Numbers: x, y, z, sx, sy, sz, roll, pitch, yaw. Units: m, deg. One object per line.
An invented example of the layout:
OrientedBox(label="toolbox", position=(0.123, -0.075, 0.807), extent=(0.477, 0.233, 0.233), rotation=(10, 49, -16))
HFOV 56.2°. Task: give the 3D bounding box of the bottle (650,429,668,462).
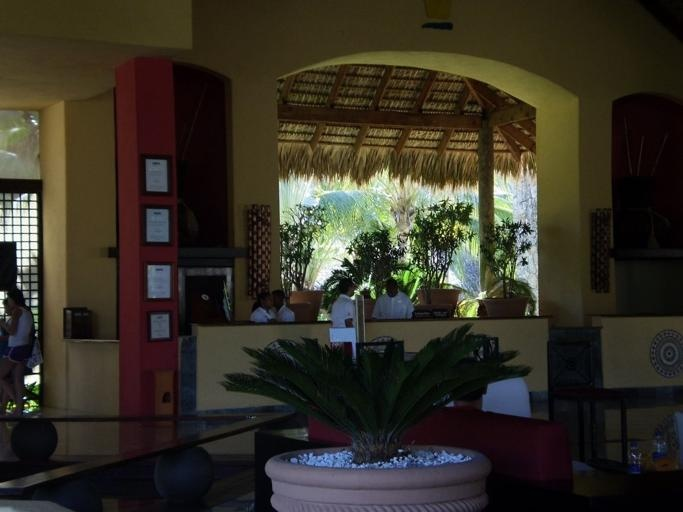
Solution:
OrientedBox(label="bottle", position=(1.772, 1.051, 3.556), extent=(0.078, 0.135, 0.122), rotation=(-1, -2, 36))

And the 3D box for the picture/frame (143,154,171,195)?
OrientedBox(label="picture/frame", position=(-1.977, -0.869, 6.793), extent=(0.404, 0.529, 0.052), rotation=(-2, 1, -38))

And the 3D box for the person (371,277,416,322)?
OrientedBox(label="person", position=(0.816, 0.720, 10.548), extent=(0.630, 1.240, 0.356), rotation=(-1, 5, 1))

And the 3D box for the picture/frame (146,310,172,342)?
OrientedBox(label="picture/frame", position=(-1.986, 0.747, 6.906), extent=(0.326, 0.416, 0.039), rotation=(0, 0, -36))

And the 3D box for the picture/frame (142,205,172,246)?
OrientedBox(label="picture/frame", position=(-1.984, -0.336, 6.823), extent=(0.407, 0.512, 0.048), rotation=(0, -1, -38))

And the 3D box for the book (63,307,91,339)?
OrientedBox(label="book", position=(-3.663, 0.920, 8.877), extent=(0.428, 0.622, 0.315), rotation=(2, -4, -24))

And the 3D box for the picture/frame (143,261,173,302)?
OrientedBox(label="picture/frame", position=(-1.987, 0.265, 6.874), extent=(0.402, 0.549, 0.056), rotation=(0, -2, -36))
